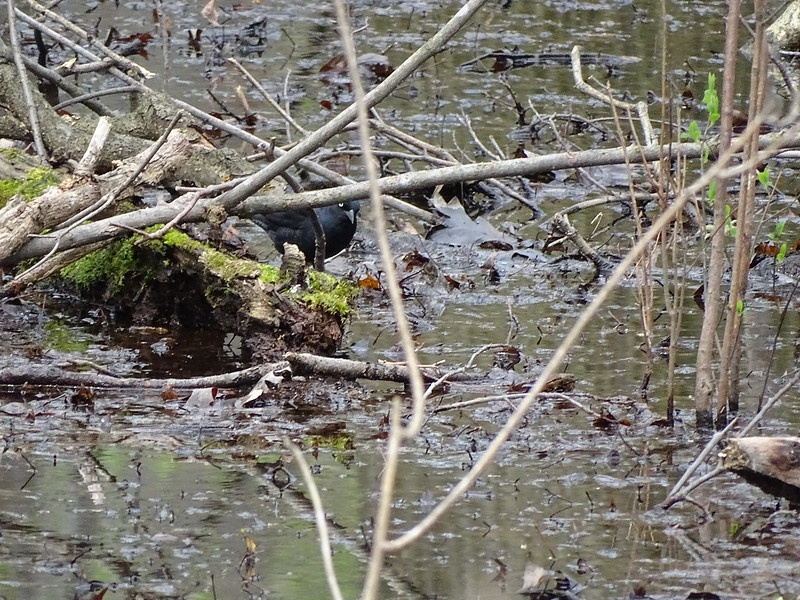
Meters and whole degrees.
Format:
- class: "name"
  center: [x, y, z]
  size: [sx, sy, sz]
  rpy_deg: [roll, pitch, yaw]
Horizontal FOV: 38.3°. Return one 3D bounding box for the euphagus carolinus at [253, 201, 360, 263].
- class: "euphagus carolinus"
  center: [-0.640, -0.515, 7.836]
  size: [0.936, 0.392, 0.315]
  rpy_deg: [15, 16, 40]
